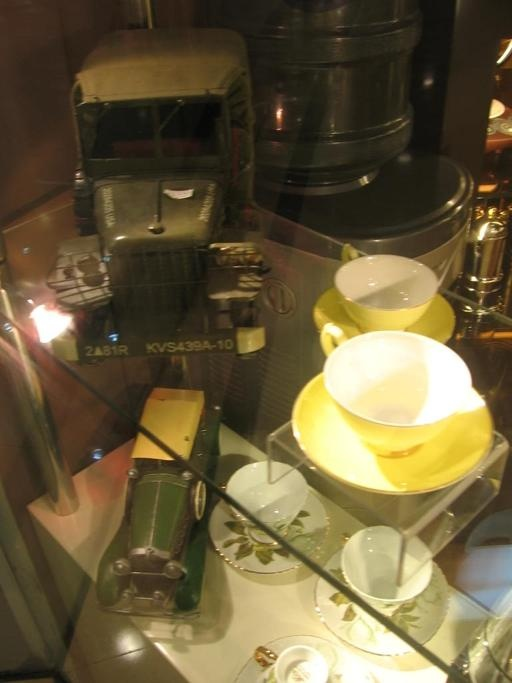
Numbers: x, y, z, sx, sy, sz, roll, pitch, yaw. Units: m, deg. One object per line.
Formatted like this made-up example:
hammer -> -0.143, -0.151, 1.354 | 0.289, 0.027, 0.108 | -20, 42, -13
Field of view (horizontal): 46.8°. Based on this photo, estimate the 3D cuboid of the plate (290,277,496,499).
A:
plate -> 0.103, 0.039, 0.487 | 0.143, 0.058, 0.142 | -29, 53, -15

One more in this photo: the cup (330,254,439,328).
cup -> 0.126, -0.050, 0.584 | 0.092, 0.042, 0.085 | -3, 38, 2
